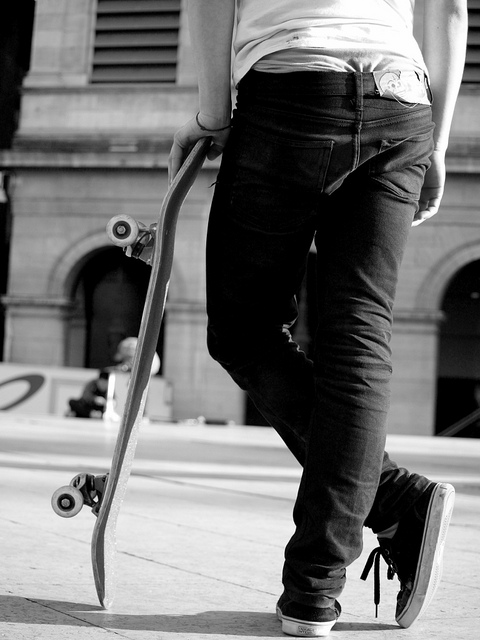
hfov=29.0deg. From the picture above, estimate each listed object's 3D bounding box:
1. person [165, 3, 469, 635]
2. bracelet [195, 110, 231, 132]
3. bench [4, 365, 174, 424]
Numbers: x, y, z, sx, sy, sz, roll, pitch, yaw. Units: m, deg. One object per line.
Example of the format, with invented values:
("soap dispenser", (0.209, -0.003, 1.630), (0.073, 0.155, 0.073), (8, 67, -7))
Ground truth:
("person", (0.139, -0.049, 1.769), (0.660, 1.111, 0.477), (10, 2, -6))
("bracelet", (-0.048, -0.367, 1.731), (0.067, 0.034, 0.035), (9, 2, -7))
("bench", (-1.829, 0.839, 10.445), (1.492, 0.357, 1.545), (4, -6, -24))
